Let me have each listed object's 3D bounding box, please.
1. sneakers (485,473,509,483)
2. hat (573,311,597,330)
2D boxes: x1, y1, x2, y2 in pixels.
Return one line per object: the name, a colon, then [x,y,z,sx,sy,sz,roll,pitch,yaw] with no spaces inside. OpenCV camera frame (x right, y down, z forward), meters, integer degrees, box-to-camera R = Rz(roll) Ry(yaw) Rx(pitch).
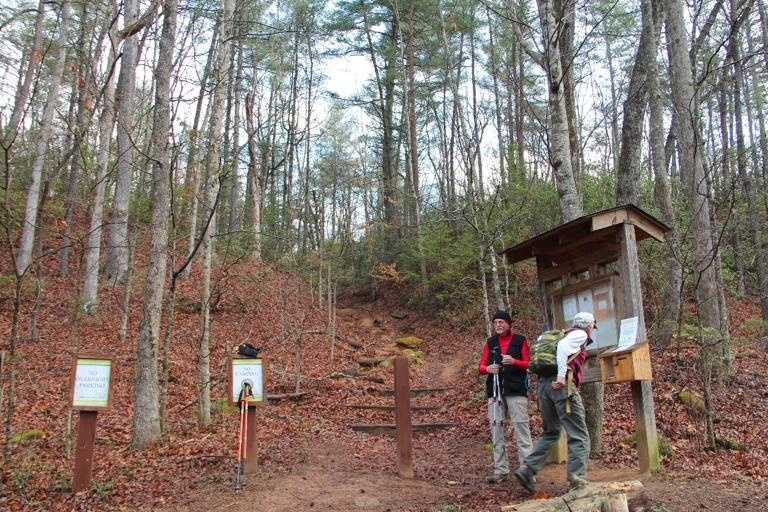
sneakers: [2.439,4.831,13.053,0.487,0.229,0.197,1,-11,-2]
hat: [4.314,1.412,12.947,0.332,0.353,0.442,11,28,44]
